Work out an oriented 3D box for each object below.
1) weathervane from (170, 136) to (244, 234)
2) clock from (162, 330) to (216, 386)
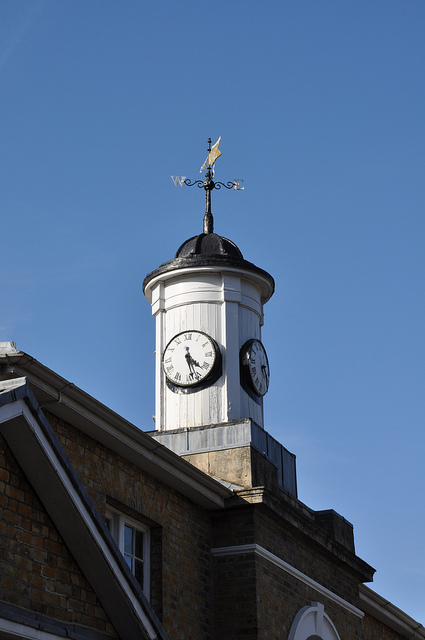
[{"bbox_3d":[-0.050,-2.070,25.193,1.016,1.765,0.337,1,-23,0],"label":"weathervane"},{"bbox_3d":[-0.341,0.511,22.883,0.738,0.099,1.004,-7,-51,-8],"label":"clock"}]
